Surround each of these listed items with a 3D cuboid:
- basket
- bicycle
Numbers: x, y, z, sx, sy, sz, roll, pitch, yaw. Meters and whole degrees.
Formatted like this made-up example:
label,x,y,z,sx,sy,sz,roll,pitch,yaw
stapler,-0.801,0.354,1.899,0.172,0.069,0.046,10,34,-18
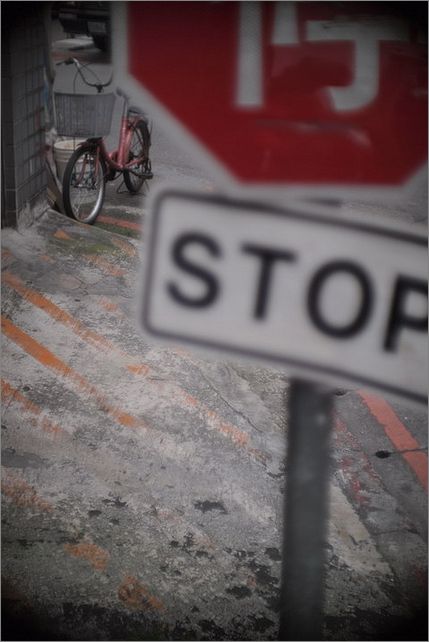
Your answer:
label,x,y,z,sx,sy,sz,roll,pitch,yaw
basket,-1.327,-2.136,4.938,0.518,0.468,0.653,9,28,8
bicycle,-1.232,-2.156,5.632,0.824,1.571,2.391,16,31,7
